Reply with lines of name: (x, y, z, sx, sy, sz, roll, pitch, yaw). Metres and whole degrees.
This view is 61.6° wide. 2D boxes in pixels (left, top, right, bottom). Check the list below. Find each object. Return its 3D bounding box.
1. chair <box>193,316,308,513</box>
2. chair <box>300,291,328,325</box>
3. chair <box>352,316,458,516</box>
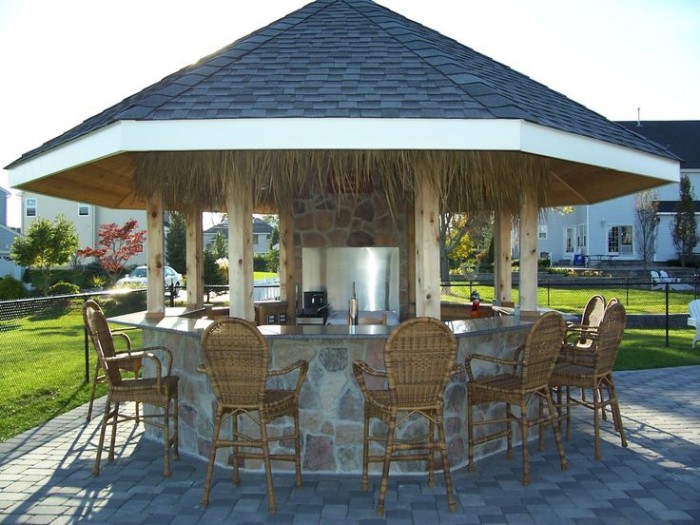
chair: (-1.066, 1.533, 6.405, 1.135, 1.993, 0.979, -2, 6, -14)
chair: (-0.627, 0.848, 10.109, 0.532, 0.748, 0.691, 1, 2, -19)
chair: (0.590, 1.526, 6.418, 1.118, 2.025, 0.994, 0, 6, 0)
